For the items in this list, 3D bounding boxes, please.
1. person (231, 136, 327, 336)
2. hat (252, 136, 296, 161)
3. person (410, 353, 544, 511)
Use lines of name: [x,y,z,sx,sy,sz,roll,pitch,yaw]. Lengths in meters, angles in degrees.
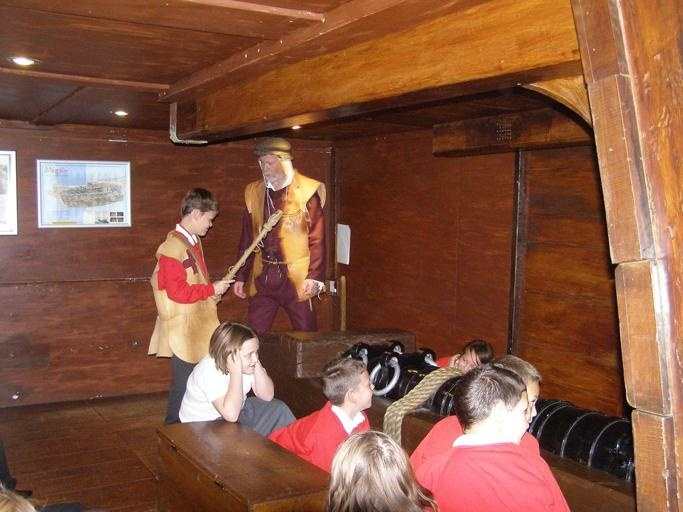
person: [-0.577,-0.201,4.662,0.865,1.817,0.509,0,4,7]
hat: [-0.685,-1.044,4.817,0.429,0.161,0.504,2,6,-12]
person: [0.567,0.641,1.981,0.286,0.306,0.988,2,-2,10]
